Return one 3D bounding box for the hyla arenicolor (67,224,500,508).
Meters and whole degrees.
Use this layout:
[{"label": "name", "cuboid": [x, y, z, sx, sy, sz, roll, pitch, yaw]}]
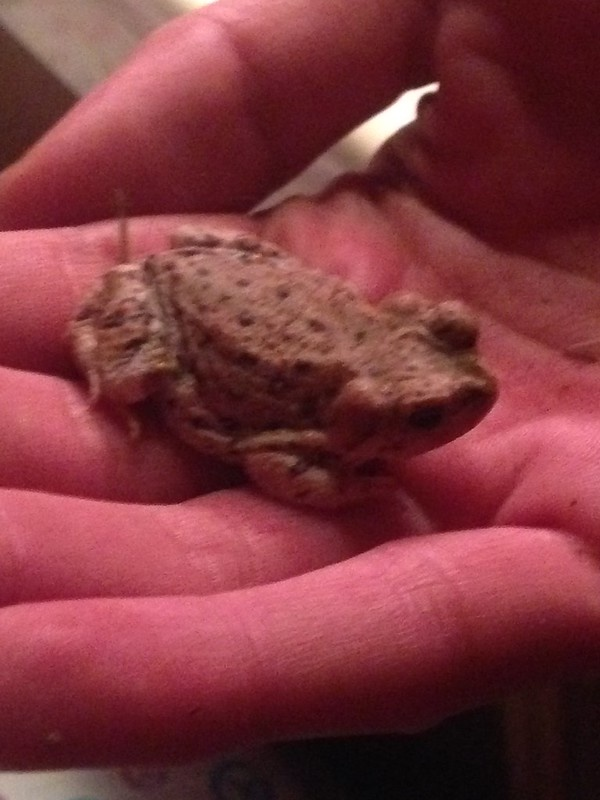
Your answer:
[{"label": "hyla arenicolor", "cuboid": [-0.018, -0.007, 0.634, 0.257, 0.092, 0.145, 22, 62, 2]}]
